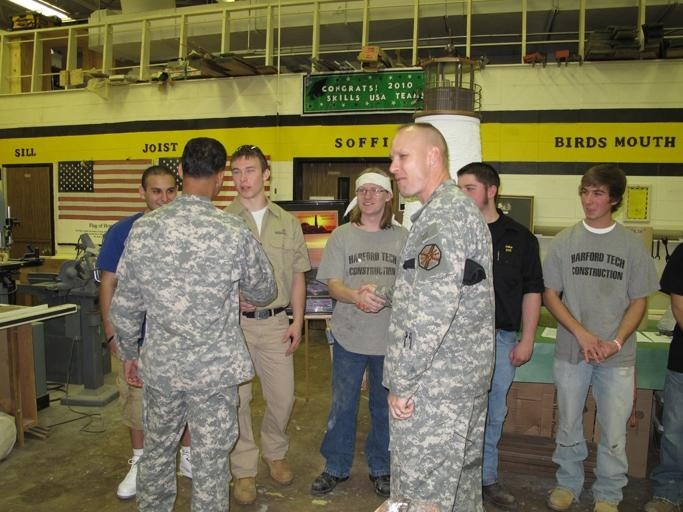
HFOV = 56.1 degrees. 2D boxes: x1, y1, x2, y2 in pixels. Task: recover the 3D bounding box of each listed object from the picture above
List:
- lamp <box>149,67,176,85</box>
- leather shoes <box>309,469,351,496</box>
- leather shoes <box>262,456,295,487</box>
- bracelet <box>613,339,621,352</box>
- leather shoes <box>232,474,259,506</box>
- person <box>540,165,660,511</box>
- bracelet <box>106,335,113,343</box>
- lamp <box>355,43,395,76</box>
[{"bbox_3d":[-2.993,-2.987,10.647,0.565,0.257,0.232,4,8,32],"label":"lamp"},{"bbox_3d":[-0.081,1.969,5.540,0.383,0.151,0.137,8,-10,-44],"label":"leather shoes"},{"bbox_3d":[-0.556,1.905,5.652,0.129,0.123,0.330,-1,2,-31],"label":"leather shoes"},{"bbox_3d":[2.251,0.736,5.257,0.069,0.109,0.046,1,7,8],"label":"bracelet"},{"bbox_3d":[-0.822,1.988,5.422,0.234,0.211,0.568,1,-8,-9],"label":"leather shoes"},{"bbox_3d":[2.098,0.690,5.355,0.872,2.878,0.510,3,7,21],"label":"person"},{"bbox_3d":[-1.901,0.688,5.265,0.016,0.056,0.063,13,-5,-30],"label":"bracelet"},{"bbox_3d":[0.472,-2.942,9.440,0.482,0.372,0.504,1,6,5],"label":"lamp"}]
